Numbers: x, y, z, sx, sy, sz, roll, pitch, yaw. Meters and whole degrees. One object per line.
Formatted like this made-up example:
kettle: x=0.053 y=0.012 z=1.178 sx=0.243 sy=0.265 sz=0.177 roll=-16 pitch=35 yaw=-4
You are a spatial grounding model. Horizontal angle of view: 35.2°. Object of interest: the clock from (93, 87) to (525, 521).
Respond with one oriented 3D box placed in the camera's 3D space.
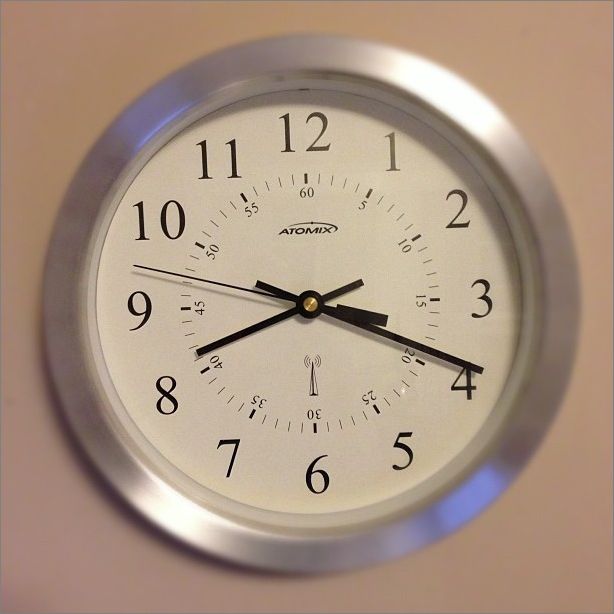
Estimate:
clock: x=-0.017 y=-0.012 z=1.236 sx=0.658 sy=0.051 sz=0.549 roll=1 pitch=-89 yaw=1
